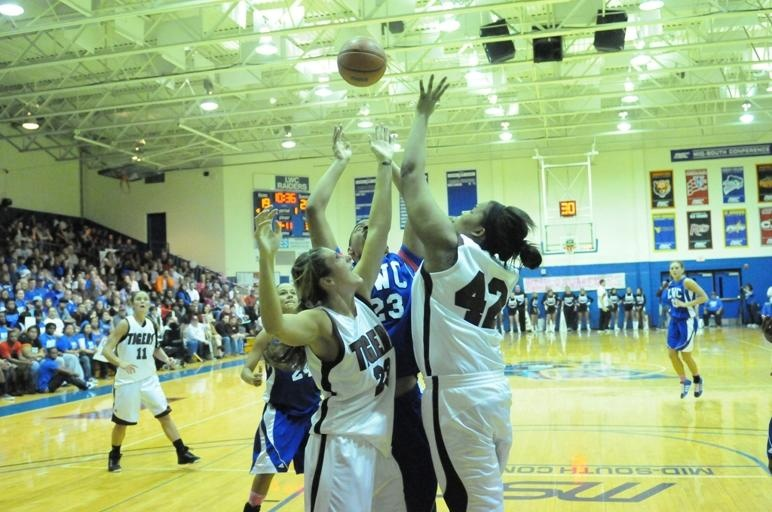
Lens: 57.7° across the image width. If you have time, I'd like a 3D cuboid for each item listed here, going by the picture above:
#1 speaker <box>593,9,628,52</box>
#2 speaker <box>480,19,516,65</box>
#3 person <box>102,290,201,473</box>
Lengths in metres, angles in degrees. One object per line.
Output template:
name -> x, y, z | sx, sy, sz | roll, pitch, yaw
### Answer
speaker -> 5.429, -5.491, 16.956 | 0.748, 0.982, 0.720 | -1, 5, 16
speaker -> 2.750, -5.328, 17.297 | 0.789, 0.919, 1.043 | -2, 5, 10
person -> -3.780, 1.892, 11.659 | 1.376, 3.078, 1.184 | -1, -1, 40
